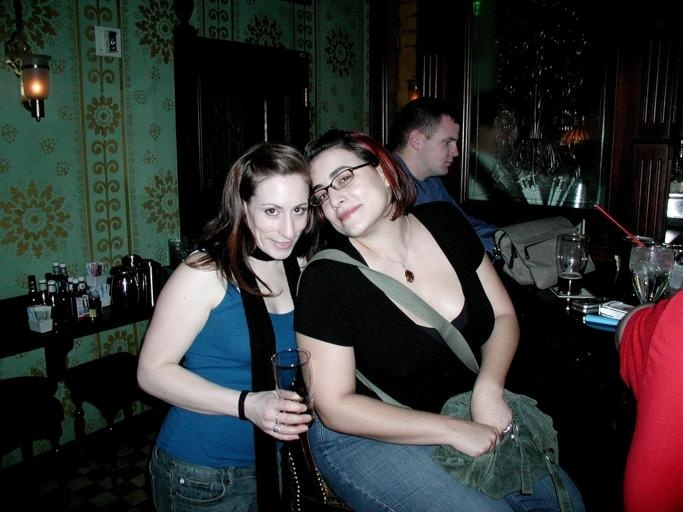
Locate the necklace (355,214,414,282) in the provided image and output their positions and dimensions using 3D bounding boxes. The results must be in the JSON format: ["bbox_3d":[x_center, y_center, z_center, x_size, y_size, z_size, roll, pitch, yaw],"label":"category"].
[{"bbox_3d":[0.172,-0.027,2.279,0.219,0.256,0.044,-25,-8,-10],"label":"necklace"}]

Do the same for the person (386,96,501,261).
[{"bbox_3d":[0.736,-0.555,3.825,0.857,1.129,1.435,5,19,6],"label":"person"}]

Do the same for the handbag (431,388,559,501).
[{"bbox_3d":[0.611,0.730,1.997,0.463,0.274,0.316,-9,13,-39],"label":"handbag"}]

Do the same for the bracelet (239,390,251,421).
[{"bbox_3d":[-0.389,0.579,2.033,0.044,0.108,0.037,-2,10,-9],"label":"bracelet"}]

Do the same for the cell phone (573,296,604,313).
[{"bbox_3d":[1.208,0.229,2.552,0.101,0.034,0.078,-6,9,-26],"label":"cell phone"}]

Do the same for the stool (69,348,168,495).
[{"bbox_3d":[-1.512,1.095,3.666,0.687,0.860,0.775,2,6,27],"label":"stool"}]

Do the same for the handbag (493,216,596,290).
[{"bbox_3d":[1.301,-0.057,3.396,0.586,0.454,0.436,-14,8,-23],"label":"handbag"}]

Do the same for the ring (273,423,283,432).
[{"bbox_3d":[-0.245,0.639,1.951,0.023,0.035,0.012,1,-5,7],"label":"ring"}]

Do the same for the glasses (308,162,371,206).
[{"bbox_3d":[-0.032,-0.307,2.249,0.199,0.062,0.201,-40,-26,28],"label":"glasses"}]

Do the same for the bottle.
[{"bbox_3d":[-1.792,0.278,3.390,0.401,0.444,0.447,-3,7,-24],"label":"bottle"}]

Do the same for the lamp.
[{"bbox_3d":[-2.030,-1.158,3.356,0.229,0.555,0.202,-8,12,-36],"label":"lamp"}]
